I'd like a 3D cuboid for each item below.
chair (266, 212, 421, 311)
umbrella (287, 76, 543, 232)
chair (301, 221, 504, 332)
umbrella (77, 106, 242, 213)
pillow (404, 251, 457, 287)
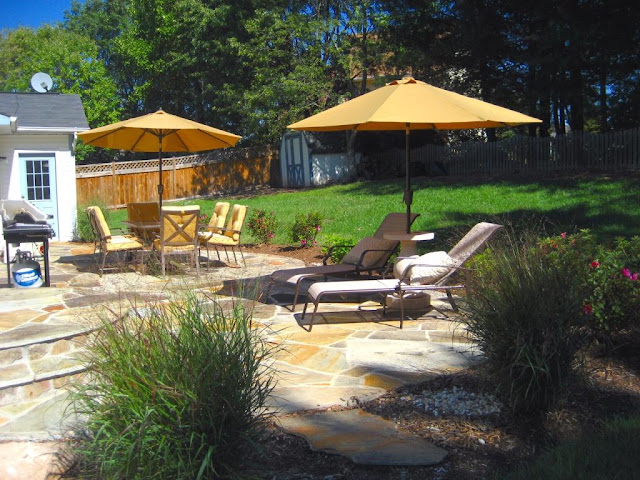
[{"bbox_3d":[0.391,0.247,9.083,2.077,1.352,1.007,0,3,-29],"label":"chair"},{"bbox_3d":[1.243,-1.215,8.580,2.593,2.096,2.435,-10,13,-30],"label":"umbrella"},{"bbox_3d":[1.081,0.477,8.027,2.509,1.586,1.246,1,-1,-12],"label":"chair"},{"bbox_3d":[-3.147,-1.588,12.126,2.784,1.948,2.981,-7,12,-19],"label":"umbrella"},{"bbox_3d":[1.334,0.386,7.763,0.825,0.381,0.760,-1,12,12],"label":"pillow"}]
